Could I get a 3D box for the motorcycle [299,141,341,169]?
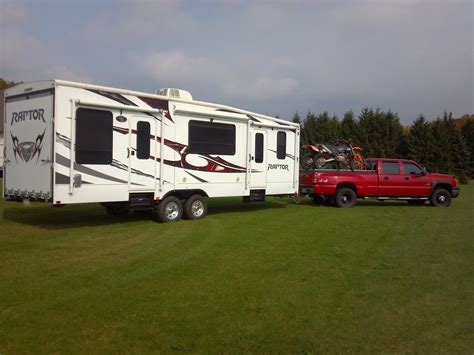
[{"bbox_3d":[3.930,-1.004,19.025,2.133,1.432,0.927,-3,5,-30],"label":"motorcycle"}]
